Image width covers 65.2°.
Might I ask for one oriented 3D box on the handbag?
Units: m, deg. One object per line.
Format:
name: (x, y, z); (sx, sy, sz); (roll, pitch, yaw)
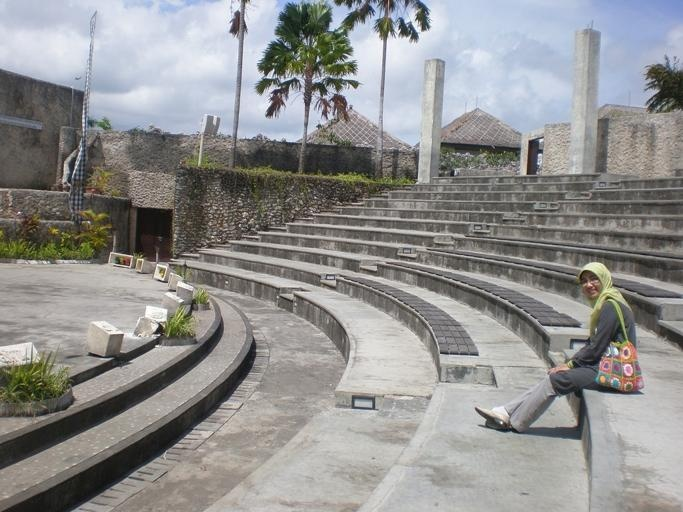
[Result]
handbag: (2.341, 0.764, 4.497); (0.356, 0.743, 0.206); (-2, 5, 29)
